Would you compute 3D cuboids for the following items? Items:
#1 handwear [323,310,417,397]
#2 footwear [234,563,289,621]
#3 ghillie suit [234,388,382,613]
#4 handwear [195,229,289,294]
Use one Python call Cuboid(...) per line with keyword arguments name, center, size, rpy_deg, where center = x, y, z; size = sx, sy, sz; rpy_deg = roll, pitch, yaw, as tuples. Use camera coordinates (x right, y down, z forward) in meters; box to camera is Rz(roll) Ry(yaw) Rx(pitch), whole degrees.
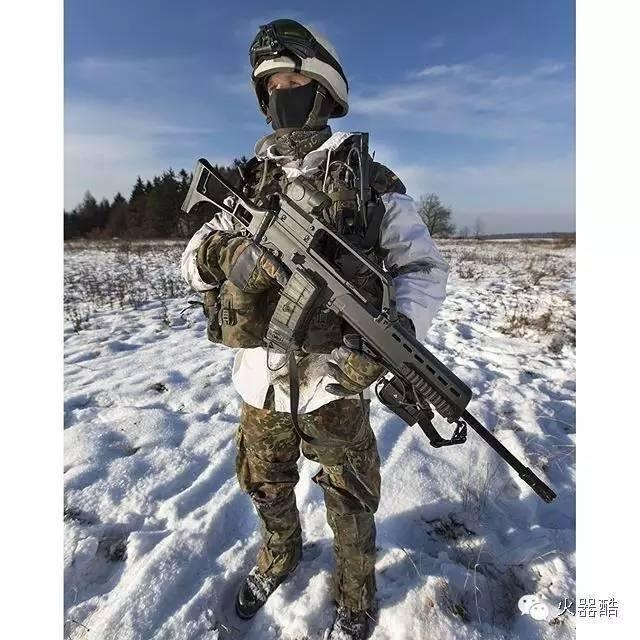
Cuboid(name="handwear", center=(0.259, 0.171, 2.474), size=(0.297, 0.489, 0.221), rpy_deg=(44, 4, 19))
Cuboid(name="footwear", center=(-0.333, 1.522, 2.848), size=(0.136, 0.173, 0.413), rpy_deg=(44, 30, 12))
Cuboid(name="ghillie suit", center=(-0.090, 0.895, 2.772), size=(0.758, 1.521, 0.485), rpy_deg=(1, 9, 14))
Cuboid(name="handwear", center=(-0.433, -0.303, 2.606), size=(0.503, 0.317, 0.201), rpy_deg=(29, 24, 35))
